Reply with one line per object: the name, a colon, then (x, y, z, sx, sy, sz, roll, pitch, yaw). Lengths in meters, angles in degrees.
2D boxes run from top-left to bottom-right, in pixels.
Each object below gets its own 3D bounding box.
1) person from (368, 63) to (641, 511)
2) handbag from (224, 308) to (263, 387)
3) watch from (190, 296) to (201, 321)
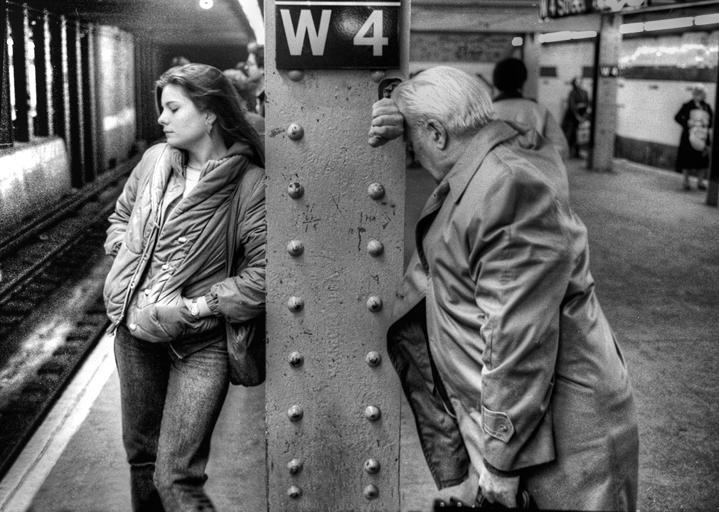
person: (0.421, 0.125, 1.842, 0.825, 1.257, 0.458, 11, 21, 29)
handbag: (-0.438, 0.332, 2.502, 0.157, 0.322, 0.219, -1, 31, -6)
watch: (-0.621, 0.204, 2.380, 0.034, 0.063, 0.042, -12, 22, -33)
